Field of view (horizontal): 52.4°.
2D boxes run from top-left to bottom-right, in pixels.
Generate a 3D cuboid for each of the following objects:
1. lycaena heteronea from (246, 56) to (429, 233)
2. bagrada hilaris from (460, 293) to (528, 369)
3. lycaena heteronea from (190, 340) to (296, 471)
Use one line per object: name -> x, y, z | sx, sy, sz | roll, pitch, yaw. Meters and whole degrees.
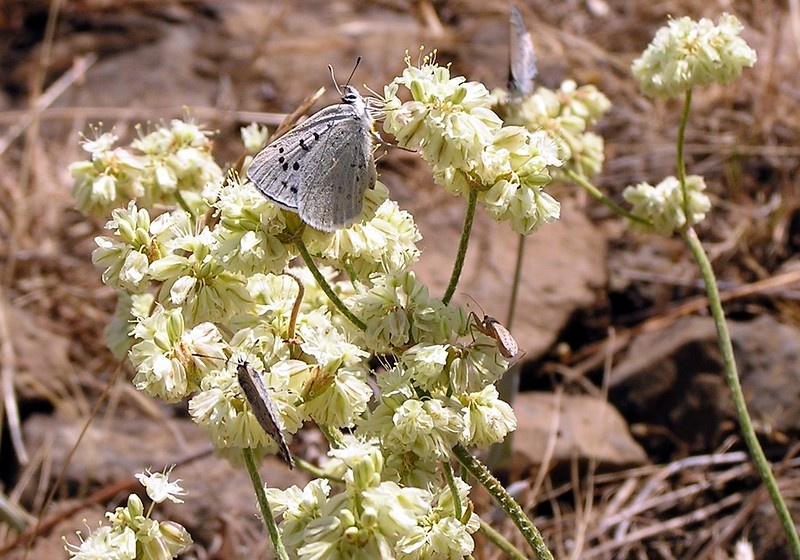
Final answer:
lycaena heteronea -> -0.380, -0.622, 4.419 | 0.517, 0.395, 0.832 | 42, 65, 16
bagrada hilaris -> 0.536, 0.394, 4.567 | 0.435, 0.519, 0.556 | -2, 98, 7
lycaena heteronea -> -0.788, 0.668, 4.271 | 0.372, 0.541, 0.361 | -9, 18, -23
